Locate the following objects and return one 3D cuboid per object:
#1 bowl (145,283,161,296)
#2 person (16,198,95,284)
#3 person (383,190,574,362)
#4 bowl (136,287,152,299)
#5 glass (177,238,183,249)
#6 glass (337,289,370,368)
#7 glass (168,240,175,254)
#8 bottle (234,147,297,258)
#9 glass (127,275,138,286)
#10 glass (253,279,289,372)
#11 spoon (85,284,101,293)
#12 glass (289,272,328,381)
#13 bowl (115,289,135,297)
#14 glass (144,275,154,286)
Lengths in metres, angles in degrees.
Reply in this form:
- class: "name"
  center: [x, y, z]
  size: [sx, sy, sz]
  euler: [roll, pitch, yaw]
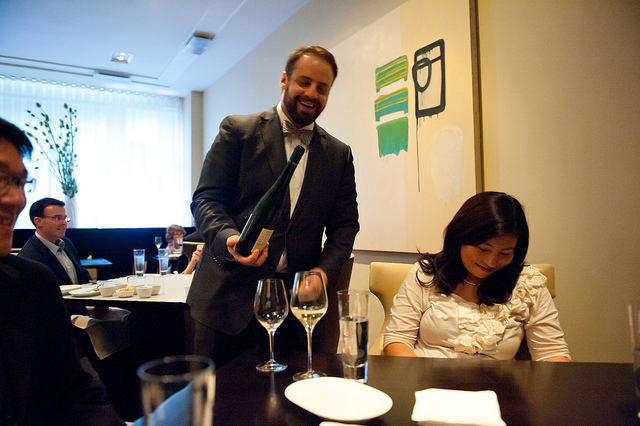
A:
- class: "bowl"
  center: [-1.178, 0.528, 3.323]
  size: [0.094, 0.057, 0.095]
  euler: [1, 4, 0]
- class: "person"
  center: [-2.322, 0.276, 4.047]
  size: [0.444, 0.834, 0.765]
  euler: [0, 10, 3]
- class: "person"
  center: [0.794, 0.321, 2.476]
  size: [0.914, 0.860, 0.335]
  euler: [1, 3, 2]
- class: "bowl"
  center: [-1.197, 0.533, 3.178]
  size: [0.077, 0.050, 0.077]
  euler: [1, 0, 0]
- class: "glass"
  center: [-1.853, 0.388, 6.197]
  size: [0.054, 0.112, 0.117]
  euler: [0, 3, -7]
- class: "glass"
  center: [0.139, 0.478, 1.851]
  size: [0.143, 0.323, 0.141]
  euler: [-3, -11, 9]
- class: "glass"
  center: [-1.901, 0.424, 5.986]
  size: [0.072, 0.147, 0.270]
  euler: [0, 3, -15]
- class: "bottle"
  center: [-0.274, -0.065, 2.305]
  size: [0.289, 0.508, 0.276]
  euler: [1, 3, 0]
- class: "glass"
  center: [-1.491, 0.535, 3.731]
  size: [0.082, 0.051, 0.082]
  euler: [1, 0, 1]
- class: "glass"
  center: [-0.194, 0.453, 1.927]
  size: [0.124, 0.369, 0.121]
  euler: [2, 3, 26]
- class: "spoon"
  center: [-1.652, 0.552, 3.418]
  size: [0.034, 0.025, 0.150]
  euler: [-4, -3, -6]
- class: "glass"
  center: [-0.043, 0.443, 1.912]
  size: [0.151, 0.414, 0.246]
  euler: [1, 3, 1]
- class: "bowl"
  center: [-1.331, 0.547, 3.212]
  size: [0.103, 0.046, 0.081]
  euler: [0, 3, -22]
- class: "glass"
  center: [-1.337, 0.526, 3.655]
  size: [0.074, 0.073, 0.055]
  euler: [1, 1, 4]
